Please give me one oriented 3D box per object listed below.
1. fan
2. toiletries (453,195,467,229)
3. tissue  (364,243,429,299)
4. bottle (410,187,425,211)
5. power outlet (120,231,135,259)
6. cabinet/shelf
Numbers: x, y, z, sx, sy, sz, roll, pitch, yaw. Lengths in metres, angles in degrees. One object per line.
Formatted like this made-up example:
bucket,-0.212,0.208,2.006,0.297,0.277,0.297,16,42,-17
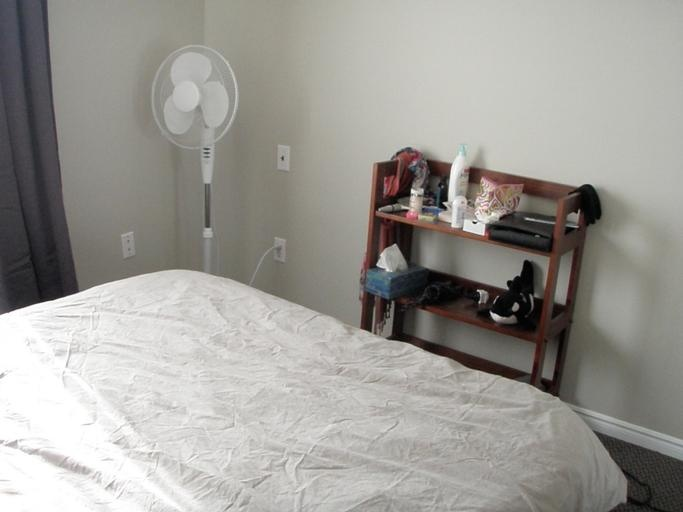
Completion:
fan,-0.796,-0.477,2.887,0.409,1.211,0.295,-1,16,-20
toiletries,0.522,-0.198,2.414,0.062,0.142,0.077,7,15,11
tissue ,0.275,0.068,2.679,0.166,0.237,0.299,15,20,41
bottle,0.355,-0.273,2.561,0.061,0.101,0.139,7,15,8
power outlet,-1.250,-0.071,3.123,0.018,0.184,0.127,5,10,33
cabinet/shelf,0.624,0.079,2.417,0.825,0.994,0.363,18,26,37
